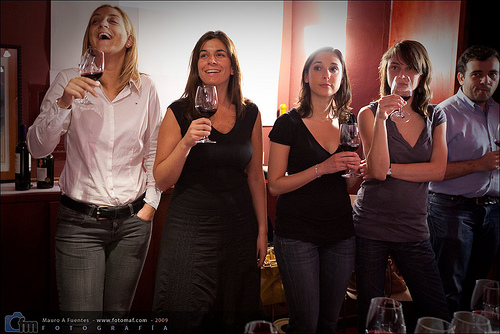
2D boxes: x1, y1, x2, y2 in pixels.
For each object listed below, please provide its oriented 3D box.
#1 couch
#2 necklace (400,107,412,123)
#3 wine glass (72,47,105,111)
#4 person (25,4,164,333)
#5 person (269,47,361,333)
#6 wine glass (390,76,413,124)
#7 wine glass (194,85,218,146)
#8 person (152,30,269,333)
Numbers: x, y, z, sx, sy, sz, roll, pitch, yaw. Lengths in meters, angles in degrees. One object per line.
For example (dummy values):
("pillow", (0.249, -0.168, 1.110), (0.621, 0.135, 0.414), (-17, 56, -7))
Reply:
("couch", (0.535, 0.433, 3.184), (1.969, 1.254, 1.016), (0, 1, -2))
("necklace", (0.971, -0.324, 2.305), (0.095, 0.091, 0.102), (1, -4, 27))
("wine glass", (-0.926, -0.501, 2.076), (0.169, 0.323, 0.249), (-4, 7, -25))
("person", (-0.863, -0.006, 2.227), (0.662, 1.876, 0.309), (-6, 8, -42))
("person", (0.409, 0.139, 2.237), (0.597, 1.750, 0.455), (-1, 6, -1))
("wine glass", (0.924, -0.419, 2.229), (0.116, 0.274, 0.277), (2, 7, 21))
("wine glass", (-0.245, -0.362, 2.007), (0.117, 0.174, 0.084), (-2, 6, -11))
("person", (-0.246, 0.115, 2.225), (0.733, 1.862, 0.258), (-3, 7, -18))
